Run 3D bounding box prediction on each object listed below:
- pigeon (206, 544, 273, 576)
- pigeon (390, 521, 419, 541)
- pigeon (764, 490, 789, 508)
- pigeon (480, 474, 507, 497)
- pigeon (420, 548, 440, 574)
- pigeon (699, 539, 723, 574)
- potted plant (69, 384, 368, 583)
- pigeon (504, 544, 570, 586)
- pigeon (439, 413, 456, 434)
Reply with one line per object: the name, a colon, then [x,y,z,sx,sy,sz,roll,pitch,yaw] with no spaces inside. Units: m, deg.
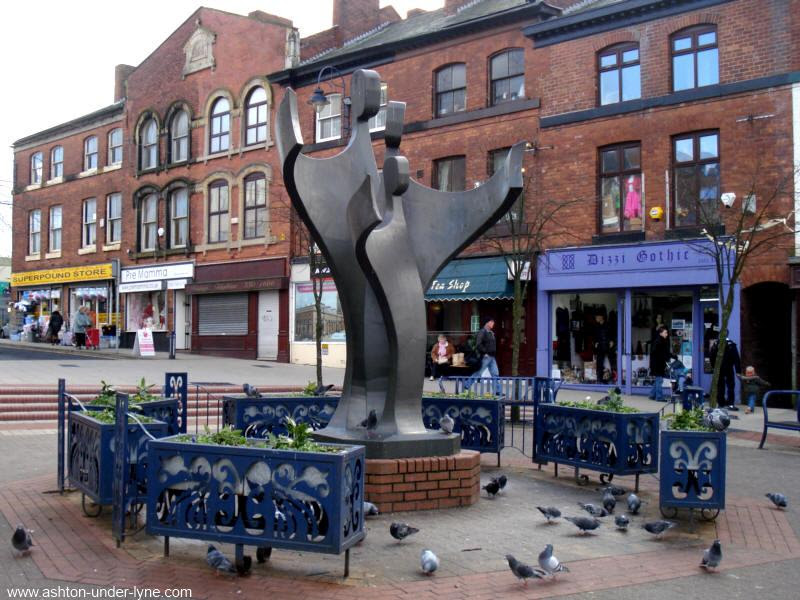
pigeon: [-1.858,2.766,9.952,0.398,0.194,0.409,23,0,26]
pigeon: [0.036,2.785,10.939,0.297,0.244,0.434,-1,-4,-3]
pigeon: [5.277,2.817,12.746,0.205,0.240,0.326,-10,-11,-39]
pigeon: [1.382,2.673,13.132,0.162,0.338,0.617,2,-3,23]
pigeon: [0.330,2.939,10.120,0.144,0.188,0.298,-1,-36,1]
pigeon: [3.533,2.943,10.417,0.208,0.472,0.422,0,-14,-6]
potted plant: [-1.942,2.058,10.561,2.937,1.759,1.660,0,-2,14]
pigeon: [1.514,2.910,10.066,0.745,0.381,0.507,0,-4,-10]
pigeon: [0.720,1.779,13.089,0.312,0.340,0.284,5,-5,-20]
